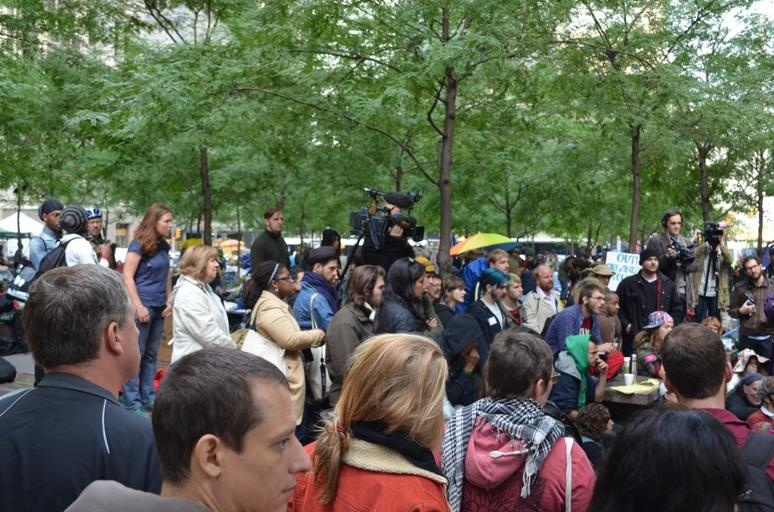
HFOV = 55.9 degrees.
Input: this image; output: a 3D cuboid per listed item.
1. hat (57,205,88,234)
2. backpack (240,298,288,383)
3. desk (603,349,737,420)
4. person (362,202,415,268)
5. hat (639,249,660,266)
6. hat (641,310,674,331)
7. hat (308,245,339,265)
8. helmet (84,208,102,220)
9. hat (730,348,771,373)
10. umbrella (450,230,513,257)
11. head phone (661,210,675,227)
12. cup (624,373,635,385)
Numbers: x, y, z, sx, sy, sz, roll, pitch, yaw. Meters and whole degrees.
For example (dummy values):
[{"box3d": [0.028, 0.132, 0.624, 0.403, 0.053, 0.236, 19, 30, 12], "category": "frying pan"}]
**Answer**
[{"box3d": [-3.726, -0.440, 8.707, 0.285, 0.368, 0.359, 1, 14, -11], "category": "hat"}, {"box3d": [-1.359, 0.900, 8.049, 0.555, 0.503, 0.366, 3, -3, 4], "category": "backpack"}, {"box3d": [3.409, 1.554, 8.853, 1.380, 0.453, 0.430, -19, 25, -33], "category": "desk"}, {"box3d": [-0.054, -0.352, 11.089, 0.883, 1.161, 0.936, -1, 8, 14], "category": "person"}, {"box3d": [4.066, 0.010, 11.368, 0.231, 0.190, 0.226, -4, -5, 38], "category": "hat"}, {"box3d": [3.569, 0.820, 9.541, 0.332, 0.161, 0.255, -6, -1, -13], "category": "hat"}, {"box3d": [-0.845, -0.012, 9.214, 0.290, 0.164, 0.266, -10, -11, 34], "category": "hat"}, {"box3d": [-3.766, -0.563, 9.401, 0.149, 0.194, 0.197, 11, 17, 38], "category": "helmet"}, {"box3d": [4.709, 1.406, 9.609, 0.367, 0.189, 0.462, -6, -7, 3], "category": "hat"}, {"box3d": [2.131, -0.317, 16.300, 1.044, 0.650, 1.048, -21, 5, 6], "category": "umbrella"}, {"box3d": [4.502, -0.619, 11.631, 0.187, 0.220, 0.222, -9, 10, -39], "category": "head phone"}, {"box3d": [2.885, 1.462, 8.701, 0.126, 0.104, 0.118, -1, -3, 0], "category": "cup"}]
